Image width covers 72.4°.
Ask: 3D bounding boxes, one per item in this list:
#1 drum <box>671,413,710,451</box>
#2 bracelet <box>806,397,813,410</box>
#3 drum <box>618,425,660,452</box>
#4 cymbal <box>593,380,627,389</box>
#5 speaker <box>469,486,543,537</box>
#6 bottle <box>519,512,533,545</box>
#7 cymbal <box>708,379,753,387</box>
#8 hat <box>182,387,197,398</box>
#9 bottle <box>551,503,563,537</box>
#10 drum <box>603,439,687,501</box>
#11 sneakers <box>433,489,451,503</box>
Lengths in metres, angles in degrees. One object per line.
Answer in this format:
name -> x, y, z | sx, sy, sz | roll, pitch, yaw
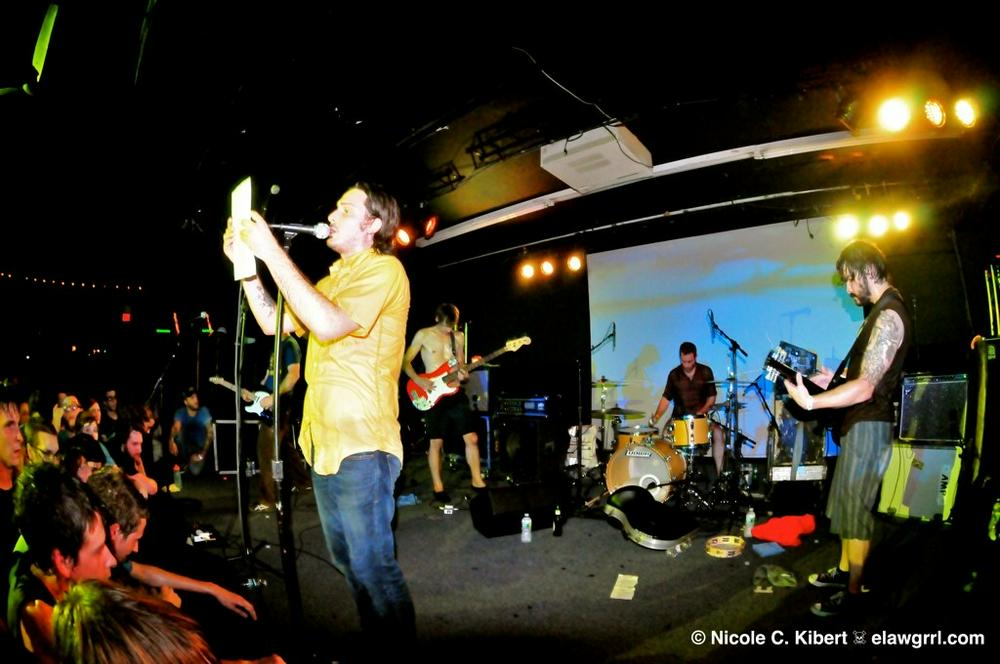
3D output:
drum -> 2.396, 1.260, 8.625 | 0.445, 0.319, 0.436 | 1, -10, 0
bracelet -> 2.851, 0.652, 6.249 | 0.051, 0.102, 0.151 | -4, -9, 19
drum -> 1.742, 1.375, 8.698 | 0.351, 0.325, 0.351 | -2, -12, 14
cymbal -> 1.848, 0.895, 11.671 | 0.537, 0.139, 0.222 | -5, -10, 23
speaker -> 0.125, 2.093, 7.967 | 0.943, 0.554, 0.281 | 0, -9, -3
bottle -> 0.306, 2.238, 7.849 | 0.131, 0.303, 0.330 | -1, -9, 1
cymbal -> 3.522, 0.784, 10.350 | 0.380, 0.077, 0.352 | 3, -6, -33
hat -> -4.652, 0.919, 10.260 | 0.192, 0.184, 0.159 | -12, -7, 43
bottle -> 0.668, 2.182, 7.948 | 0.120, 0.354, 0.246 | -2, -9, 5
drum -> 1.846, 1.587, 8.732 | 0.925, 0.926, 0.764 | -3, -3, 35
sneakers -> -0.775, 2.196, 9.130 | 0.213, 0.153, 0.294 | 0, -9, -8
